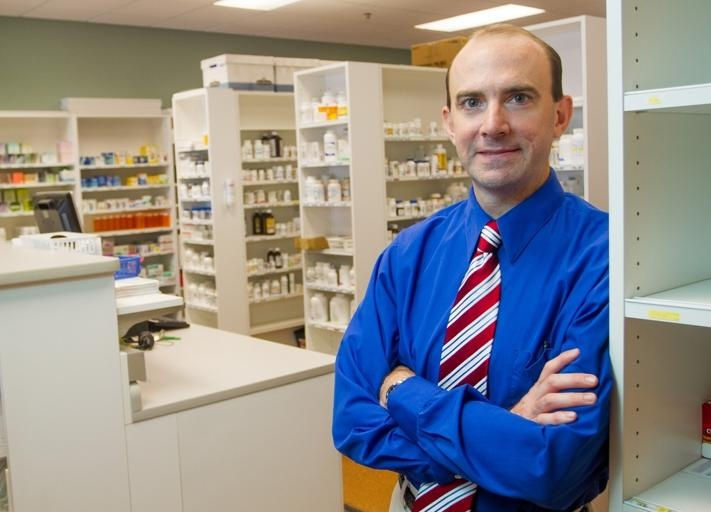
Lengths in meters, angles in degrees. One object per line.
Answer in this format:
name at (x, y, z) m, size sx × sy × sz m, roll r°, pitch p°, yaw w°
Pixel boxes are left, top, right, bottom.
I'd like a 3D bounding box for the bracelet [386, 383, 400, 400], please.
bracelet at (0.082, 0.315, 1.366) m, size 0.009 × 0.035 × 0.036 m, roll 15°, pitch 0°, yaw 23°
